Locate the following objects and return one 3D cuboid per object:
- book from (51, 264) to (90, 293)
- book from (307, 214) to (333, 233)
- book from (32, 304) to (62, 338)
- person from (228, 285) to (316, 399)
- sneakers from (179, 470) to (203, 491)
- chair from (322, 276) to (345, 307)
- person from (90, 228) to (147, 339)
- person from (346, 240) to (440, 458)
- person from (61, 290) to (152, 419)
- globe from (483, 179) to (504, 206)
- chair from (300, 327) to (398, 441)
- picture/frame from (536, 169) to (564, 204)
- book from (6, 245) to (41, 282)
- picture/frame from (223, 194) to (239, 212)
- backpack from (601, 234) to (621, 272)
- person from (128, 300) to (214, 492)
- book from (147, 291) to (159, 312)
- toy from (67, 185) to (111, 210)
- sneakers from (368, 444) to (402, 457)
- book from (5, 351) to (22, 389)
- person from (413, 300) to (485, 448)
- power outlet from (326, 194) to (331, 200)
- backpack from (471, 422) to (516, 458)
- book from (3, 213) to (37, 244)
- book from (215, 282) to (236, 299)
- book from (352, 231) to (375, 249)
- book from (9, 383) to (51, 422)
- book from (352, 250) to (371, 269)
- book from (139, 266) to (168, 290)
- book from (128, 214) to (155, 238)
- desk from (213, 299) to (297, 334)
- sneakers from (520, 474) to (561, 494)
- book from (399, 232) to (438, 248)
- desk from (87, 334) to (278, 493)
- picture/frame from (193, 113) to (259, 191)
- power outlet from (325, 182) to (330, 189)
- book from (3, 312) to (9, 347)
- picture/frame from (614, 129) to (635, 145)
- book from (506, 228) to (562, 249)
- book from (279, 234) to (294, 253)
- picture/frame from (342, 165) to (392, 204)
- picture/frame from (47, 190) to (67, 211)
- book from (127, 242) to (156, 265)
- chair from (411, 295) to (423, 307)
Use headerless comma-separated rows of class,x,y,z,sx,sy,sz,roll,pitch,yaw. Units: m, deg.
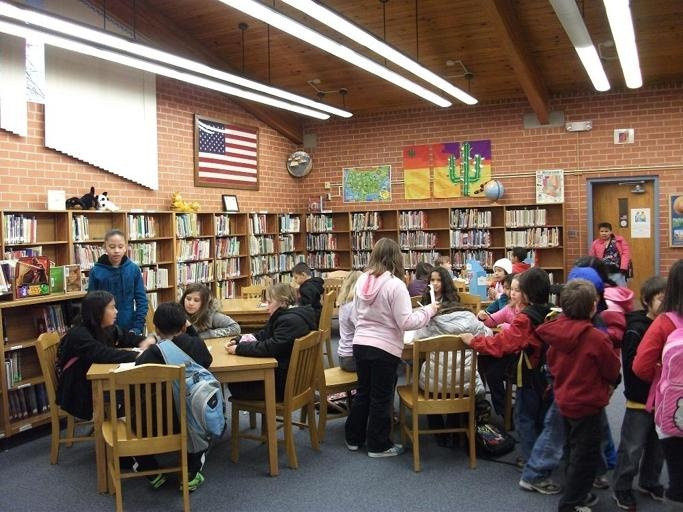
book,-2.794,0.242,5.358,0.086,0.285,0.397,2,10,24
book,-0.396,-0.636,10.775,0.557,0.555,0.340,0,3,11
book,-2.923,0.652,5.213,0.245,0.334,0.332,-3,5,-43
person,-0.615,0.851,4.561,0.757,1.174,0.706,2,-5,12
sneakers,-1.144,1.736,4.036,0.079,0.096,0.207,-3,-6,11
chair,-0.111,0.538,7.894,0.414,0.544,0.370,1,4,-1
person,-2.268,0.559,5.345,0.551,1.584,0.527,-1,10,-20
person,0.454,0.779,4.538,0.680,1.822,0.679,1,1,-40
person,-2.018,0.891,4.502,0.786,1.117,0.617,4,6,5
globe,2.700,-1.122,9.388,0.362,0.418,0.368,5,13,29
chair,0.041,1.183,5.225,0.879,1.371,0.821,-2,5,-5
picture/frame,3.662,-1.204,9.171,0.610,0.821,0.087,0,-5,19
book,-3.137,0.086,5.190,0.345,0.345,0.201,-1,9,-26
picture/frame,-1.915,-0.913,9.091,0.034,0.250,0.337,-12,-4,26
backpack,4.087,-0.040,7.954,0.353,0.472,0.190,-9,-33,35
person,-1.320,1.177,4.135,0.619,1.626,0.510,0,9,-19
book,-2.447,0.594,6.828,0.154,0.260,0.282,0,1,7
toy,-3.045,-0.692,6.536,0.181,0.377,0.546,-4,-2,25
sneakers,0.381,1.657,4.504,0.266,0.110,0.111,-3,3,-17
book,-3.137,1.079,5.050,0.106,0.314,0.438,-7,10,-28
person,0.841,1.145,4.455,0.622,1.086,0.696,0,3,14
power outlet,-0.239,-1.214,10.710,0.105,0.190,0.100,1,4,9
backpack,1.264,1.544,4.363,0.215,0.095,0.289,-4,6,-25
book,-3.489,-0.290,5.707,0.188,0.337,0.348,2,1,23
book,-1.917,0.570,8.829,0.253,0.341,0.354,-1,-2,23
book,0.448,-0.293,10.431,0.337,0.439,0.446,0,0,22
book,-3.052,1.436,5.121,0.345,0.365,0.261,-7,-5,23
book,0.413,0.084,10.230,0.411,0.409,0.321,0,-2,1
book,-2.550,0.299,7.138,0.133,0.295,0.326,0,1,29
book,-2.771,-0.414,7.280,0.137,0.185,0.361,0,0,8
desk,-1.151,0.833,6.535,0.644,0.343,0.494,1,2,3
sneakers,1.476,1.706,3.934,0.286,0.141,0.115,-1,3,1
book,1.456,-0.302,9.965,0.833,0.283,0.388,2,-1,15
desk,-1.256,1.185,4.271,1.163,0.738,1.139,-1,-2,-18
picture/frame,-2.014,-1.791,9.029,0.053,1.120,1.547,-1,-2,29
power outlet,-0.267,-1.448,10.722,0.132,0.128,0.064,1,0,31
book,-3.184,0.721,5.002,0.024,0.268,0.401,-8,10,-29
picture/frame,4.741,-2.005,8.821,0.275,0.264,0.198,4,-3,18
book,3.312,-0.317,9.179,0.843,0.348,0.170,1,10,19
book,-1.097,-0.193,10.346,0.294,0.426,0.429,-1,-1,23
picture/frame,0.564,-1.436,10.437,0.793,0.579,0.031,0,2,24
picture/frame,-3.309,-0.644,6.122,0.248,0.329,0.032,-2,-6,-42
book,-2.721,-0.037,7.146,0.135,0.273,0.327,0,-1,26
chair,0.837,0.517,5.900,0.141,0.106,0.141,-4,6,-29
